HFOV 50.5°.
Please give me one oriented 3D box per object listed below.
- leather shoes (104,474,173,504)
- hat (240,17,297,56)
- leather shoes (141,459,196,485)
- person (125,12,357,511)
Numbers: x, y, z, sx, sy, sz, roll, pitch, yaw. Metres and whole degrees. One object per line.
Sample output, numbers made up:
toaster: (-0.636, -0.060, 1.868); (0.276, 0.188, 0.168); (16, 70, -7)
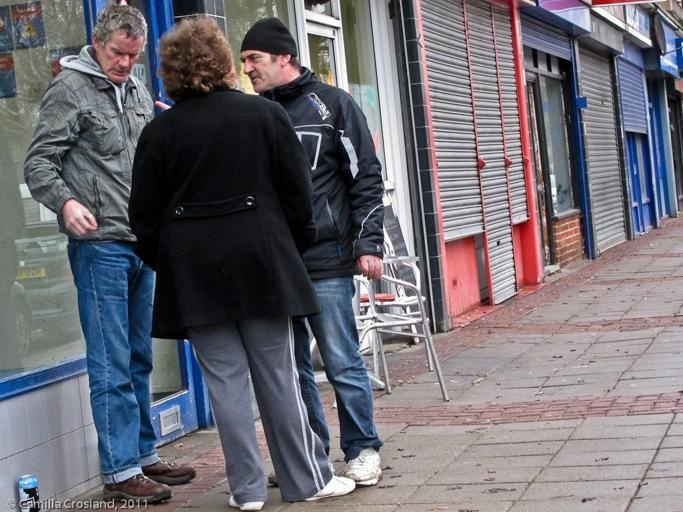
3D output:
leather shoes: (-1.151, 1.335, 4.178); (0.416, 0.180, 0.148); (0, 3, 4)
hat: (-0.389, -1.256, 4.233); (0.210, 0.190, 0.293); (6, -10, 44)
leather shoes: (-1.050, 1.345, 4.444); (0.286, 0.111, 0.134); (1, 7, -2)
person: (-0.558, 0.070, 3.781); (0.957, 2.422, 0.343); (-10, 3, -12)
